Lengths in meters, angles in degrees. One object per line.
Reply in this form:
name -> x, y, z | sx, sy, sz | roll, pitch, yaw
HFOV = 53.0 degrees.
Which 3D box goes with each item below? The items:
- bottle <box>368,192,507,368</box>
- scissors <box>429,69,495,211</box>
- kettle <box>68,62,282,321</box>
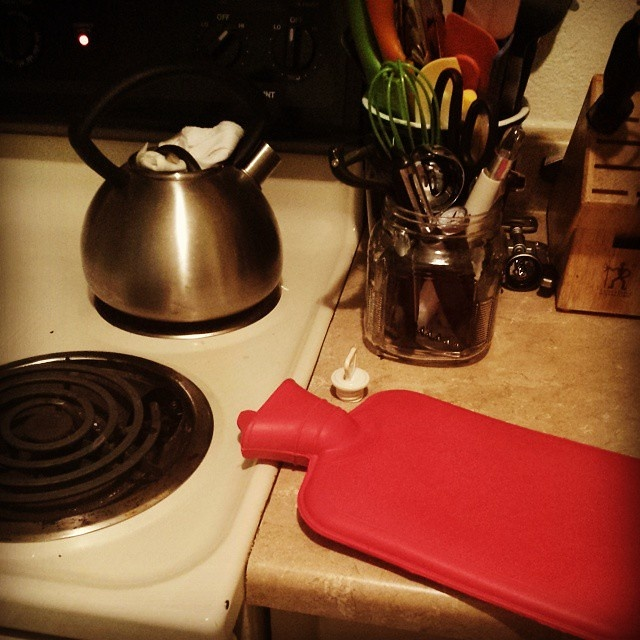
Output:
bottle -> 0.095, -0.059, 0.648 | 0.148, 0.180, 0.117 | 4, 28, 7
scissors -> 0.130, -0.157, 0.610 | 0.009, 0.147, 0.089 | -23, 48, -24
kettle -> -0.137, -0.153, 0.691 | 0.203, 0.246, 0.217 | 3, 35, 2
